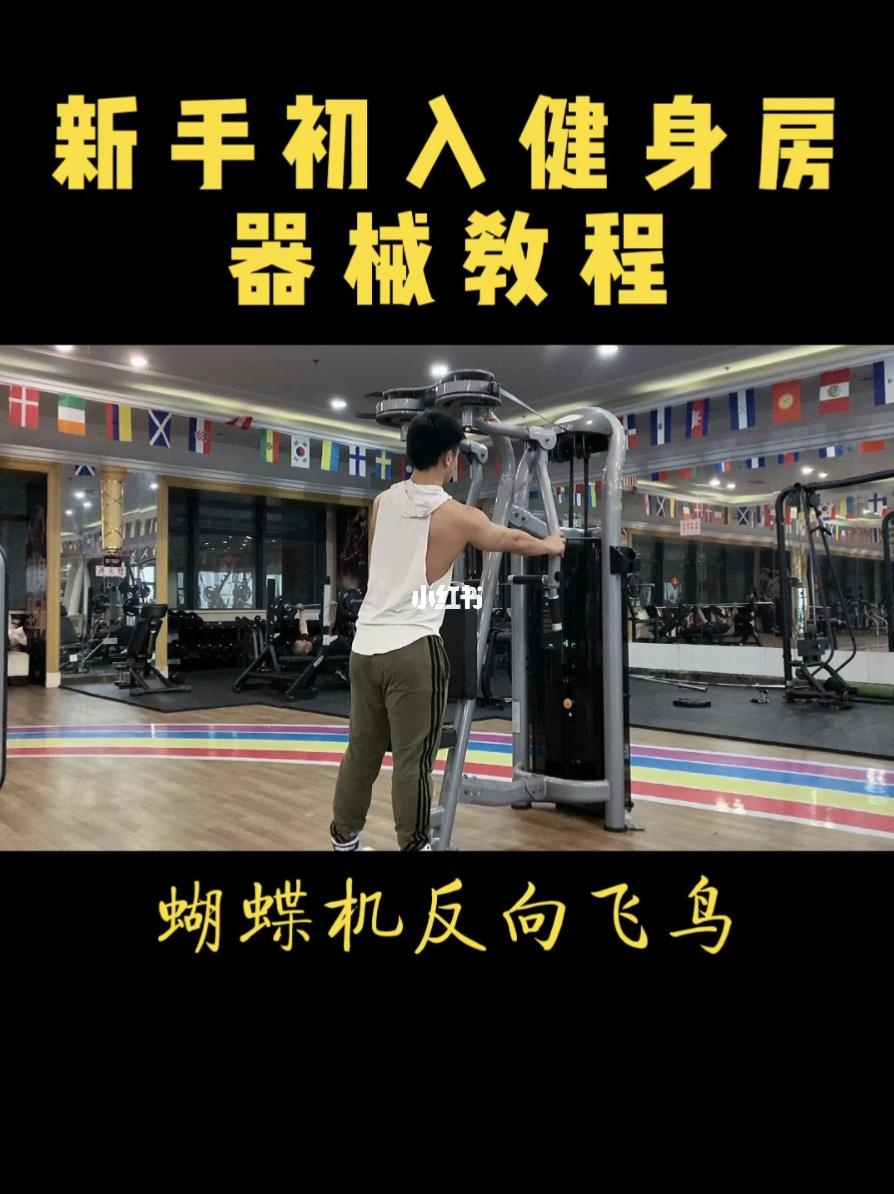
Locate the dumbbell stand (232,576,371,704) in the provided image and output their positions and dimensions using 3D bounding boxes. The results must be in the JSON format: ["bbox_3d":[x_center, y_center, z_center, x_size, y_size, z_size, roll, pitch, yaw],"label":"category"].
[{"bbox_3d":[-1.252,0.444,8.320,1.401,0.805,1.018,3,-4,-38],"label":"dumbbell stand"}]

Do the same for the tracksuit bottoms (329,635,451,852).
[{"bbox_3d":[-0.159,0.382,2.292,0.146,0.538,0.332,7,-9,-40],"label":"tracksuit bottoms"}]

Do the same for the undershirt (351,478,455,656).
[{"bbox_3d":[-0.119,-0.070,2.318,0.255,0.463,0.202,0,-7,12],"label":"undershirt"}]

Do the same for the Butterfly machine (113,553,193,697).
[{"bbox_3d":[-2.743,0.430,8.211,0.467,0.880,0.822,1,3,-44],"label":"Butterfly machine"}]
